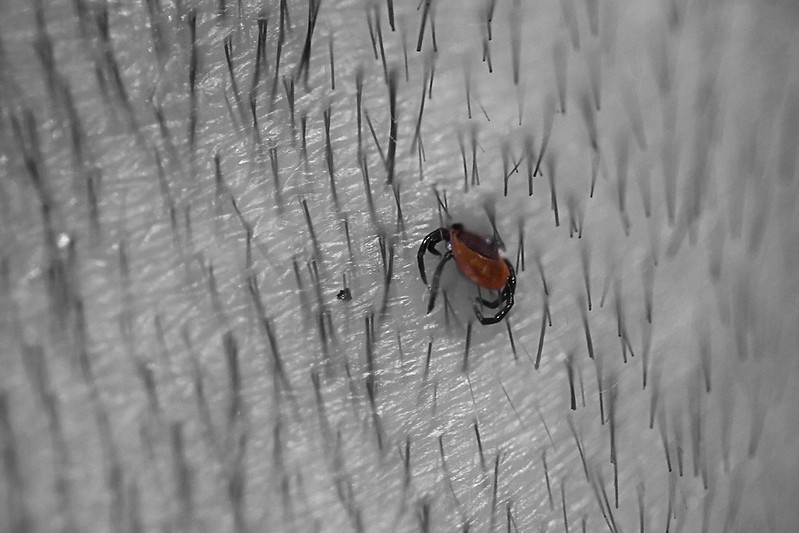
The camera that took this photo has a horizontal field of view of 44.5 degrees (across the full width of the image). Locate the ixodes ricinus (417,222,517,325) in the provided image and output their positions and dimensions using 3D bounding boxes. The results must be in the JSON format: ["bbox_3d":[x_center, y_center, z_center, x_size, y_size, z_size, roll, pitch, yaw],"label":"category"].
[{"bbox_3d":[0.096,0.006,1.231,0.116,0.130,0.038,2,-19,-25],"label":"ixodes ricinus"}]
